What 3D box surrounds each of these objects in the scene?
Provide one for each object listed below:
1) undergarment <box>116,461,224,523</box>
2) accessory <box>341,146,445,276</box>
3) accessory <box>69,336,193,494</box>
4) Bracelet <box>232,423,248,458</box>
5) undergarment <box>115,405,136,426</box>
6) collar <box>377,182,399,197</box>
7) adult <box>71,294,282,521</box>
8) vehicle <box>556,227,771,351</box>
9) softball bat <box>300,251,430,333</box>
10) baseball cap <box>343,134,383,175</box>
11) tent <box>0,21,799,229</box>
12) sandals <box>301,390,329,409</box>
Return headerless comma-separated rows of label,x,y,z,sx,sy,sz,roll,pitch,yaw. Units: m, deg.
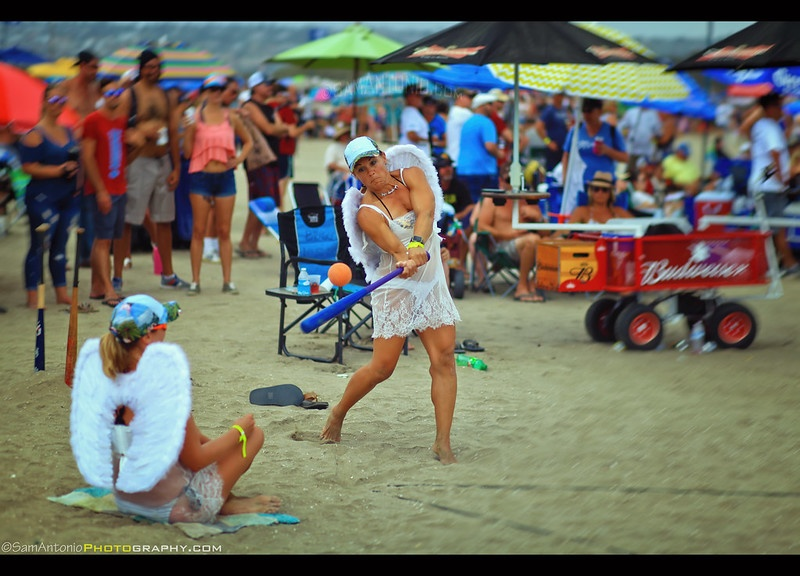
undergarment,-1.626,1.485,7.539,0.600,0.260,0.455,1,-3,7
accessory,-0.095,-0.679,8.326,0.771,1.037,0.394,-13,9,-3
accessory,-1.853,0.895,7.259,1.034,1.323,0.186,4,0,14
Bracelet,-1.143,1.122,7.624,0.055,0.204,0.155,-7,-5,-3
undergarment,-1.930,0.897,7.386,0.121,0.135,0.146,-4,9,0
collar,-0.074,-0.793,8.405,0.142,0.114,0.034,3,3,4
adult,-1.593,1.018,7.725,1.623,1.838,1.270,-3,6,-34
vehicle,2.824,-0.085,11.123,1.835,1.219,1.279,-5,5,-14
softball bat,-0.294,0.010,9.136,1.323,0.161,0.171,-33,37,-23
baseball cap,-0.305,-1.088,8.412,0.324,0.239,0.528,-20,-4,-2
tent,-0.088,-2.035,12.931,4.578,1.680,4.964,-1,3,-26
sandals,-0.747,1.015,9.296,0.104,0.100,0.276,-2,1,-45
